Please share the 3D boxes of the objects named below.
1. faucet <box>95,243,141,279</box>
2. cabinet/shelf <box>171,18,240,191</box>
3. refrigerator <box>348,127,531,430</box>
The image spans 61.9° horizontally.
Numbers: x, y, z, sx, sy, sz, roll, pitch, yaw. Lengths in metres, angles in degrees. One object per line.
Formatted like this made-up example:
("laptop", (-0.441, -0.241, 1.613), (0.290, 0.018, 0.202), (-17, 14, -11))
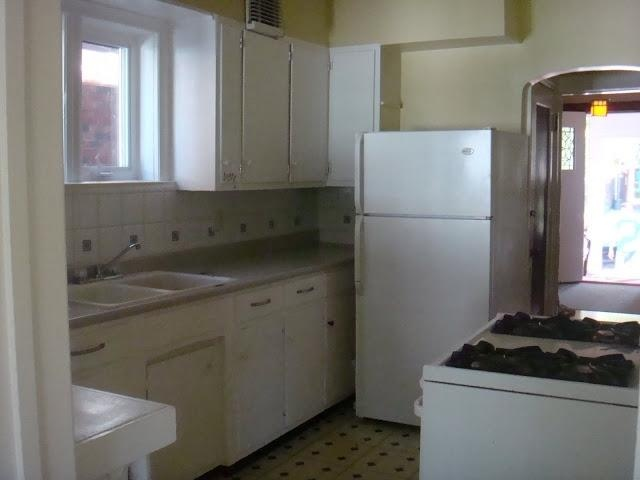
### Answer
("faucet", (-1.083, 0.106, 2.860), (0.213, 0.127, 0.136), (-1, 6, 27))
("cabinet/shelf", (-0.686, -0.791, 3.133), (0.424, 0.968, 0.248), (1, 8, 19))
("refrigerator", (0.693, 0.140, 3.635), (1.242, 1.819, 1.147), (-12, 18, -40))
